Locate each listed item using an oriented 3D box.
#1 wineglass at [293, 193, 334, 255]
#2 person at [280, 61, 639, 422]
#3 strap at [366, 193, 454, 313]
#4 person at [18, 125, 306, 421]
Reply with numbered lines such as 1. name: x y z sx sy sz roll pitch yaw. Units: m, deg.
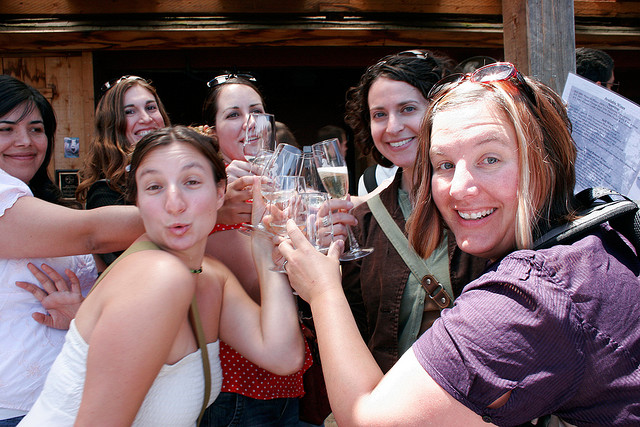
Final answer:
1. wineglass: -0.013 0.047 2.609 0.182 0.295 0.189 2 10 28
2. person: 0.617 0.072 1.957 1.287 1.369 0.765 -2 9 3
3. strap: 0.469 0.231 2.508 0.093 0.805 0.096 -45 -35 21
4. person: -0.691 0.272 2.229 1.206 1.307 0.454 -9 11 -36
